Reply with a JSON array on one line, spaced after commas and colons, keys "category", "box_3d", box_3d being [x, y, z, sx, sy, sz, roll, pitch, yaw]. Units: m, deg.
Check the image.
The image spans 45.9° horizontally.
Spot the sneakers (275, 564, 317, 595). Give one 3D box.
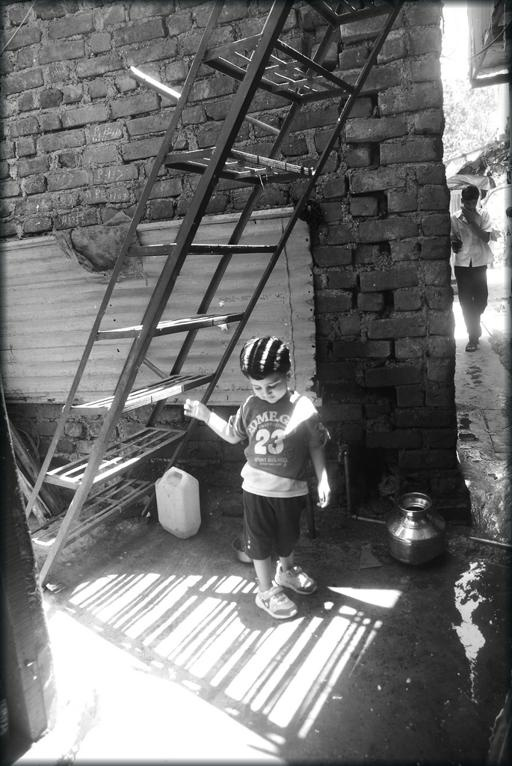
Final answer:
[{"category": "sneakers", "box_3d": [0.185, 0.924, 2.879, 0.237, 0.117, 0.098, 9, 11, 30]}]

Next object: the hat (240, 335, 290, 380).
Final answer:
[{"category": "hat", "box_3d": [0.042, -0.096, 2.492, 0.147, 0.189, 0.195, -11, 21, 12]}]

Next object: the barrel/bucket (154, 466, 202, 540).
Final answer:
[{"category": "barrel/bucket", "box_3d": [-0.444, 0.702, 3.552, 0.216, 0.387, 0.231, -3, 10, 0]}]

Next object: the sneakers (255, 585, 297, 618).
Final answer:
[{"category": "sneakers", "box_3d": [0.088, 0.983, 2.733, 0.175, 0.086, 0.097, 17, 19, 35]}]

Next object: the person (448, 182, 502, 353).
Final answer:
[{"category": "person", "box_3d": [2.084, -1.074, 5.829, 0.368, 1.633, 0.618, 0, 14, 21]}]

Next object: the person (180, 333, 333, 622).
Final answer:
[{"category": "person", "box_3d": [0.021, 0.423, 2.636, 0.567, 1.285, 0.393, -8, 18, -14]}]

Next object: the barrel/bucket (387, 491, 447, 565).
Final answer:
[{"category": "barrel/bucket", "box_3d": [0.788, 0.713, 3.016, 0.251, 0.286, 0.249, -4, 23, 2]}]
